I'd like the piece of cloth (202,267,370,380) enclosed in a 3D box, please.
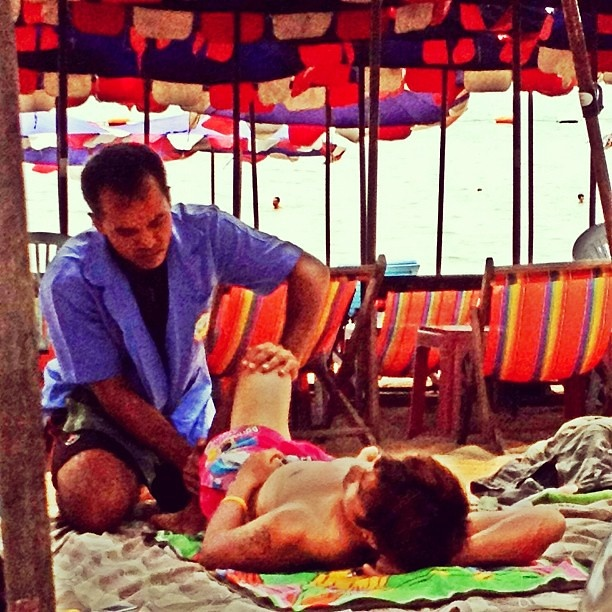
[{"bbox_3d":[-0.133,0.088,5.713,0.672,0.647,0.455,12,5,34],"label":"piece of cloth"}]

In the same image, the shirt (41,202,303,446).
[{"bbox_3d":[-0.451,0.089,4.835,1.116,1.054,0.525,-2,47,1],"label":"shirt"}]

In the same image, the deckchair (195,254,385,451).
[{"bbox_3d":[-0.103,0.226,5.714,0.658,0.917,0.937,0,1,4],"label":"deckchair"}]

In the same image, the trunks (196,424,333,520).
[{"bbox_3d":[-0.099,0.572,4.099,0.280,0.157,0.361,32,12,-25],"label":"trunks"}]

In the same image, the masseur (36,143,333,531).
[{"bbox_3d":[-0.453,0.309,4.732,1.128,1.764,0.860,-6,18,-8],"label":"masseur"}]

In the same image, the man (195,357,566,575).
[{"bbox_3d":[0.435,0.576,4.147,0.693,0.583,1.332,12,-12,-34],"label":"man"}]

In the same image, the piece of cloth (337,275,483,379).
[{"bbox_3d":[0.615,0.055,6.757,0.423,0.755,0.334,4,1,-1],"label":"piece of cloth"}]
